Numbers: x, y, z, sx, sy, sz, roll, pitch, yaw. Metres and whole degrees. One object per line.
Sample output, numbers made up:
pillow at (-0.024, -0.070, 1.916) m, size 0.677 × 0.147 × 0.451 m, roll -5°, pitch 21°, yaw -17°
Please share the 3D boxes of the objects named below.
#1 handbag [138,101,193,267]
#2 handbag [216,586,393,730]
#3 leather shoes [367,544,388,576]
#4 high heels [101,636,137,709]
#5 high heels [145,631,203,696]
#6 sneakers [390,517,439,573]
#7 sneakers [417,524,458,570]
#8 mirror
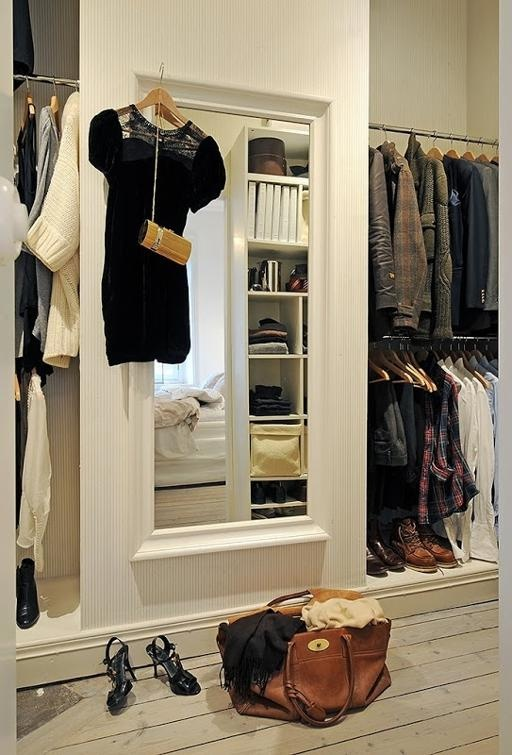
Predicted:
handbag at (-0.280, -0.613, 1.942) m, size 0.154 × 0.506 × 0.203 m, roll 0°, pitch 3°, yaw -8°
handbag at (0.149, 0.760, 1.798) m, size 0.354 × 0.217 × 0.302 m, roll -2°, pitch 4°, yaw 21°
leather shoes at (0.476, 0.739, 2.476) m, size 0.043 × 0.069 × 0.140 m, roll -1°, pitch 0°, yaw -17°
high heels at (-0.410, 0.872, 1.870) m, size 0.067 × 0.099 × 0.225 m, roll -24°, pitch 25°, yaw 8°
high heels at (-0.245, 0.856, 1.964) m, size 0.088 × 0.185 × 0.243 m, roll -7°, pitch 11°, yaw -40°
sneakers at (0.658, 0.706, 2.595) m, size 0.074 × 0.137 × 0.259 m, roll -3°, pitch 2°, yaw -5°
sneakers at (0.776, 0.721, 2.637) m, size 0.060 × 0.095 × 0.202 m, roll -4°, pitch 6°, yaw -10°
mirror at (-0.179, -0.246, 3.842) m, size 1.021 × 4.176 × 0.840 m, roll 1°, pitch 0°, yaw -13°
